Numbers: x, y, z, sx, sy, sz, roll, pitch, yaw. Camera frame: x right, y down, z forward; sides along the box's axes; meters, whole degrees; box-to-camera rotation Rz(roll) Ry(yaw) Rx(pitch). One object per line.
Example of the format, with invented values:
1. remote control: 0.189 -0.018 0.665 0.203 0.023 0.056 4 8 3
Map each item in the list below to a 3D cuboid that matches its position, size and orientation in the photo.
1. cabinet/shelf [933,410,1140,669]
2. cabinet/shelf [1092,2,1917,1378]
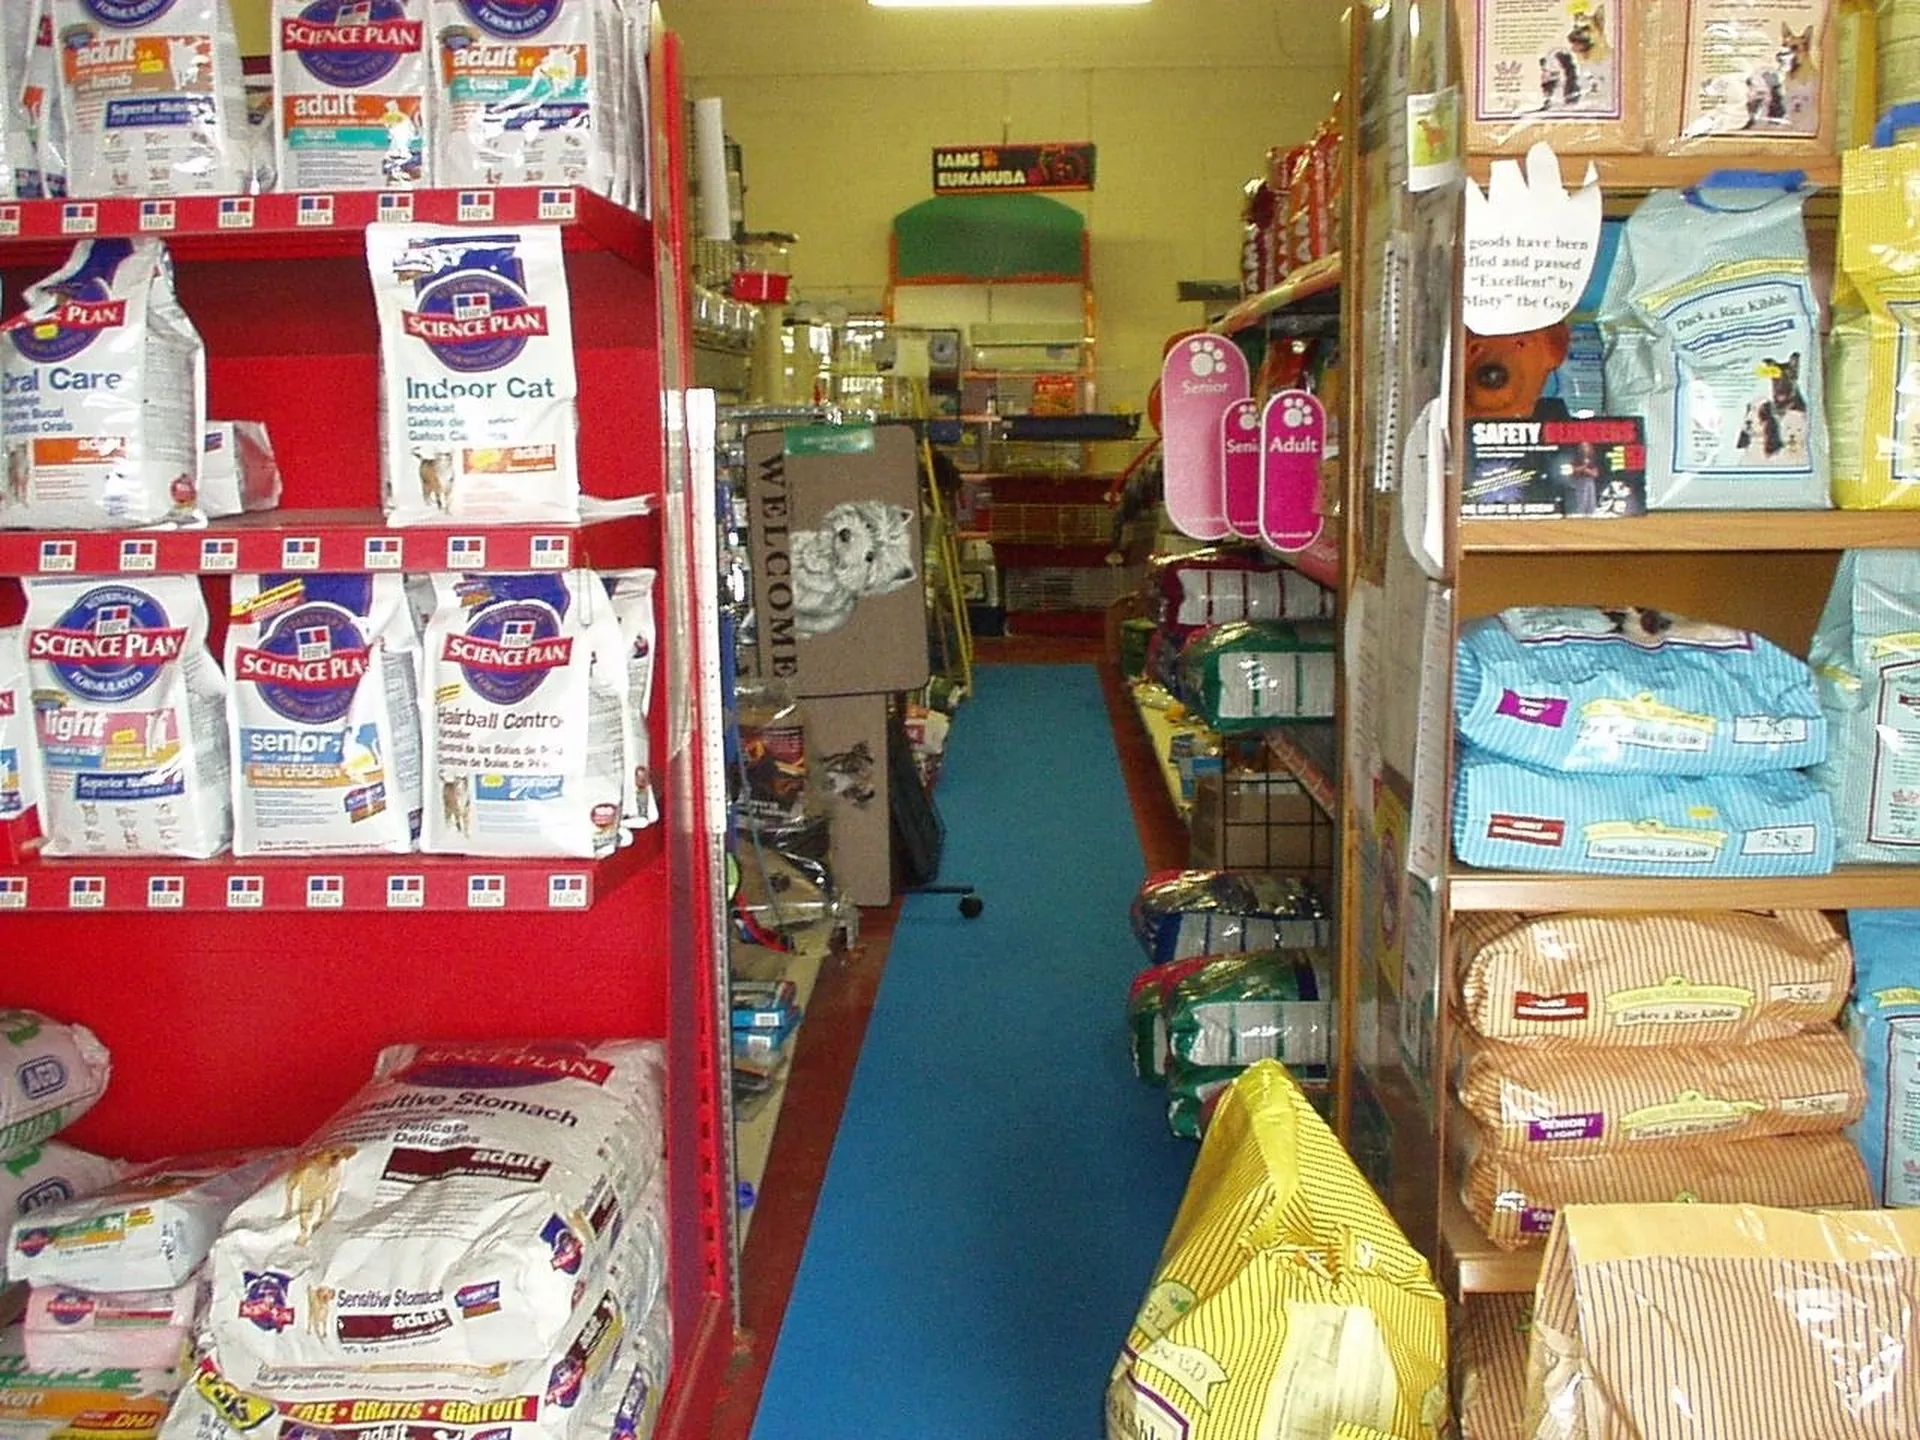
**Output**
1. cabinet/shelf: 0.784 -1.583 12.200 1.474 1.805 0.620 4 18 29
2. cabinet/shelf: 1.074 -0.204 2.574 0.826 2.003 1.114 0 12 3
